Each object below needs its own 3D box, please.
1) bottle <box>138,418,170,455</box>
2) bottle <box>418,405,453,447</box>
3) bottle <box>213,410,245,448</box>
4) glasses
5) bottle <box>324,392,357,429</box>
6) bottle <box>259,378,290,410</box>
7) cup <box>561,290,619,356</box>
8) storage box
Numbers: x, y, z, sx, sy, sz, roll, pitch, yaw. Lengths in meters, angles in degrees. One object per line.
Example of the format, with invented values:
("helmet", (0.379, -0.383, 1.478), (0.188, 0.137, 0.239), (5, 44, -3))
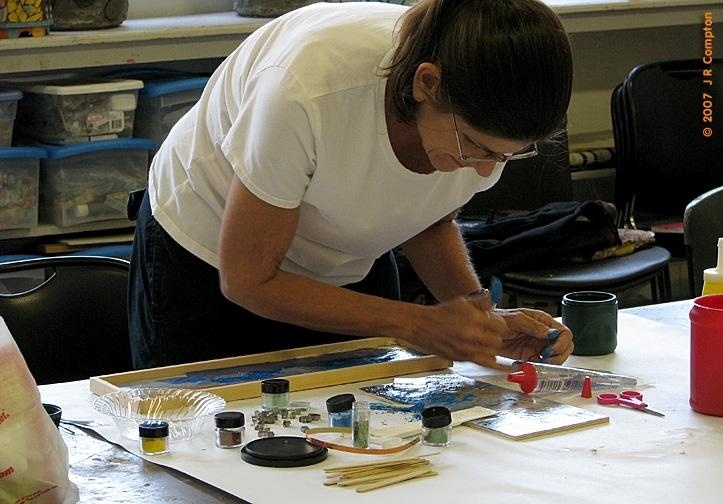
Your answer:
("bottle", (-0.305, 0.272, 0.994), (0.049, 0.042, 0.047), (2, 6, 15))
("bottle", (0.109, 0.266, 1.019), (0.054, 0.050, 0.053), (-1, 7, 1))
("bottle", (-0.199, 0.270, 1.007), (0.053, 0.049, 0.050), (1, 9, 11))
("glasses", (0.211, -0.186, 1.085), (0.112, 0.106, 0.030), (-8, -13, -45))
("bottle", (-0.033, 0.256, 1.083), (0.048, 0.046, 0.047), (-1, 10, 26))
("bottle", (-0.147, 0.241, 1.137), (0.053, 0.043, 0.048), (1, 0, -4))
("cup", (0.475, 0.149, 1.451), (0.139, 0.130, 0.130), (-2, 9, 0))
("storage box", (-1.026, -0.416, 2.897), (0.812, 0.500, 0.683), (-4, 7, -34))
